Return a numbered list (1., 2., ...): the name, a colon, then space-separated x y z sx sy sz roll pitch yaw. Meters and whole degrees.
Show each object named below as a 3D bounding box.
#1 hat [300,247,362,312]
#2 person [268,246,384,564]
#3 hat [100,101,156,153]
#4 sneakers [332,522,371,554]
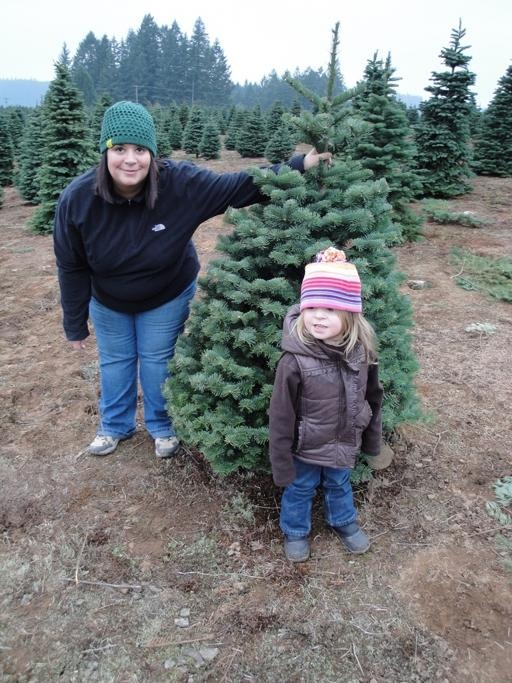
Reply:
1. hat: 0.355 -0.281 2.419 0.299 0.294 0.313 0 2 -11
2. person: 0.361 0.379 2.688 0.630 1.712 0.395 0 21 -6
3. hat: -0.715 -1.142 2.850 0.303 0.277 0.315 -1 9 -17
4. sneakers: 0.537 1.113 2.982 0.111 0.085 0.228 -17 19 -28
